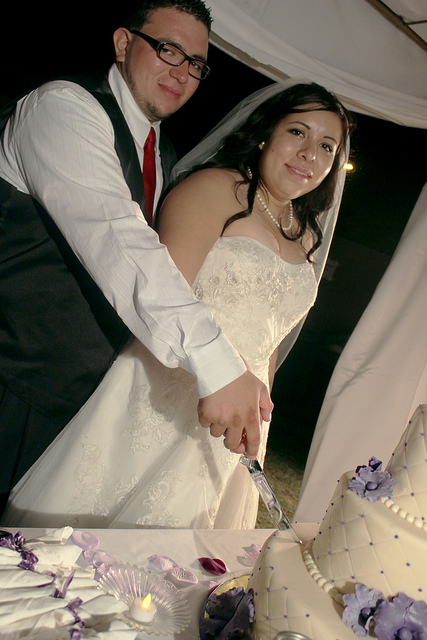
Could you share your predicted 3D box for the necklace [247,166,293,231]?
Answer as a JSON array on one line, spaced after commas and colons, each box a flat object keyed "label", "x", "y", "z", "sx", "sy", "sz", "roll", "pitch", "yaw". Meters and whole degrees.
[{"label": "necklace", "x": 0.198, "y": -0.486, "z": 2.200, "sx": 0.194, "sy": 0.028, "sz": 0.263, "roll": -27, "pitch": 87, "yaw": -51}]

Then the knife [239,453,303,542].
[{"label": "knife", "x": 0.128, "y": 0.401, "z": 1.228, "sx": 0.035, "sy": 0.079, "sz": 0.232, "roll": 40, "pitch": 18, "yaw": -50}]

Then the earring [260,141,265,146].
[{"label": "earring", "x": 0.211, "y": -0.746, "z": 2.201, "sx": 0.018, "sy": 0.011, "sz": 0.005, "roll": 2, "pitch": 78, "yaw": -58}]
